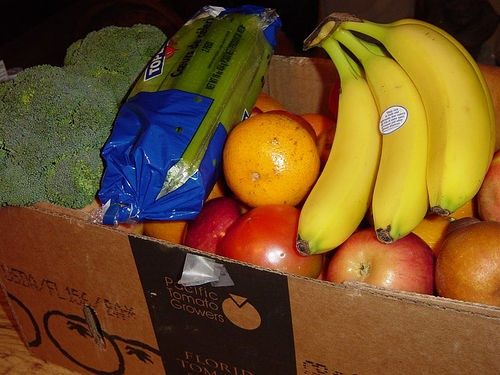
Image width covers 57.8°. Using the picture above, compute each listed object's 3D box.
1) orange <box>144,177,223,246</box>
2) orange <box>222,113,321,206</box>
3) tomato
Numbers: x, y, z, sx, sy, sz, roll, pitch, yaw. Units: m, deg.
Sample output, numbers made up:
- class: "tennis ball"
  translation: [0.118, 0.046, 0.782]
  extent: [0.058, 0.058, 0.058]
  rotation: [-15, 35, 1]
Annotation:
- class: "orange"
  translation: [-0.183, 0.043, 1.180]
  extent: [0.153, 0.145, 0.173]
  rotation: [-28, 107, -12]
- class: "orange"
  translation: [0.050, -0.042, 0.975]
  extent: [0.186, 0.194, 0.206]
  rotation: [-1, 74, 2]
- class: "tomato"
  translation: [0.035, 0.113, 0.939]
  extent: [0.154, 0.166, 0.172]
  rotation: [-2, 52, 6]
